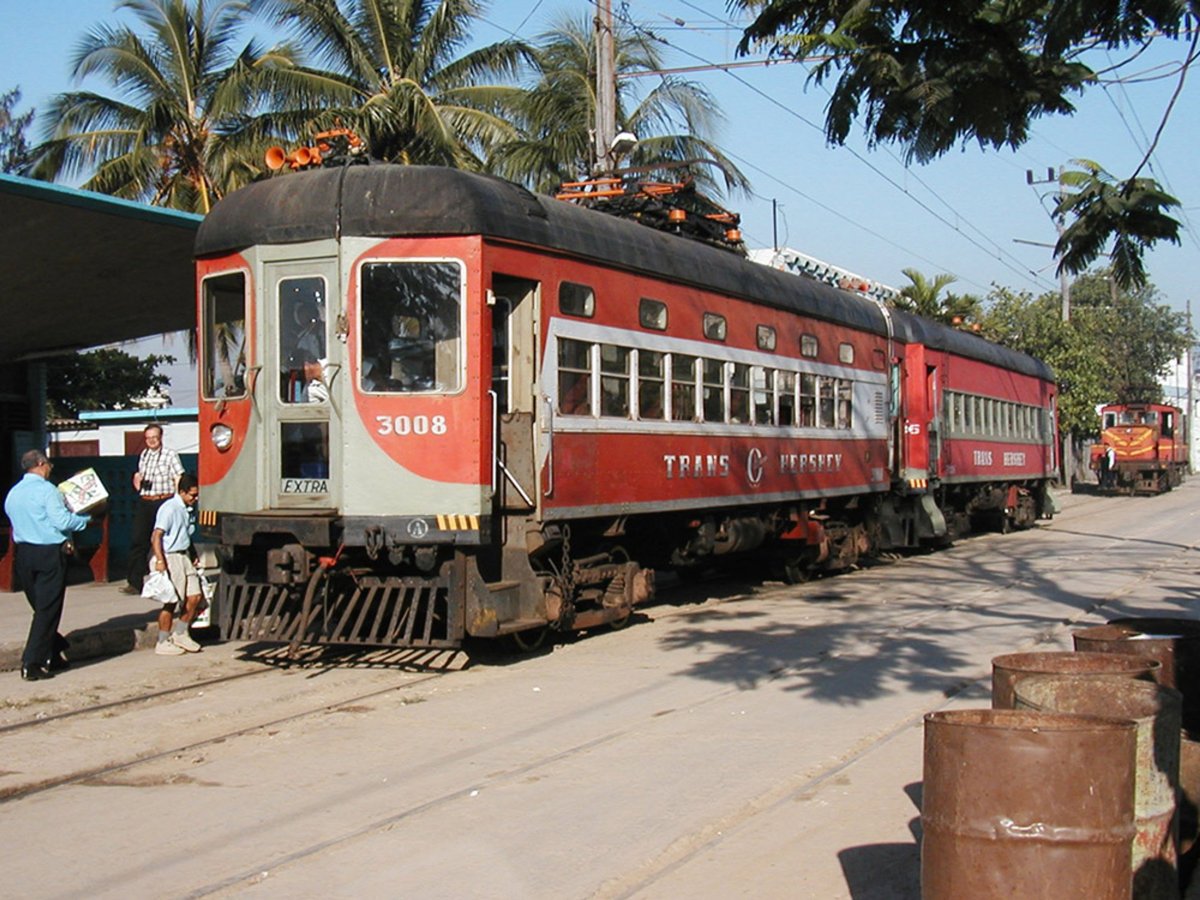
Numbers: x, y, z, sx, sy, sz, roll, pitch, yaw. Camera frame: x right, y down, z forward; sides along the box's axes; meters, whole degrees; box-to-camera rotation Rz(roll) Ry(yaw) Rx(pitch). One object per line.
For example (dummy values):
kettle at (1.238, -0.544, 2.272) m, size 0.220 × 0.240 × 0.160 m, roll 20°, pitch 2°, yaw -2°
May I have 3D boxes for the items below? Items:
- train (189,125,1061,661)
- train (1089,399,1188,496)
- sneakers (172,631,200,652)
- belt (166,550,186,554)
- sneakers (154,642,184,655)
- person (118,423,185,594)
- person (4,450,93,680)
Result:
train at (1.561, -0.383, 17.440) m, size 4.629 × 5.798 × 18.405 m, roll -2°, pitch -3°, yaw 35°
train at (24.419, -0.089, 45.723) m, size 2.289 × 4.138 × 6.361 m, roll -3°, pitch -5°, yaw 41°
sneakers at (-4.465, 2.053, 10.936) m, size 0.342 × 0.250 × 0.144 m, roll 4°, pitch 5°, yaw 12°
belt at (-4.497, 1.080, 10.733) m, size 0.048 × 0.068 × 0.226 m, roll -3°, pitch -5°, yaw 39°
sneakers at (-4.621, 2.118, 10.861) m, size 0.243 × 0.118 × 0.130 m, roll -4°, pitch -4°, yaw 21°
person at (-5.865, 0.767, 13.388) m, size 0.795 × 2.219 × 0.656 m, roll 3°, pitch 6°, yaw 2°
person at (-5.339, 1.093, 9.736) m, size 0.660 × 2.185 × 0.651 m, roll 2°, pitch -4°, yaw -32°
